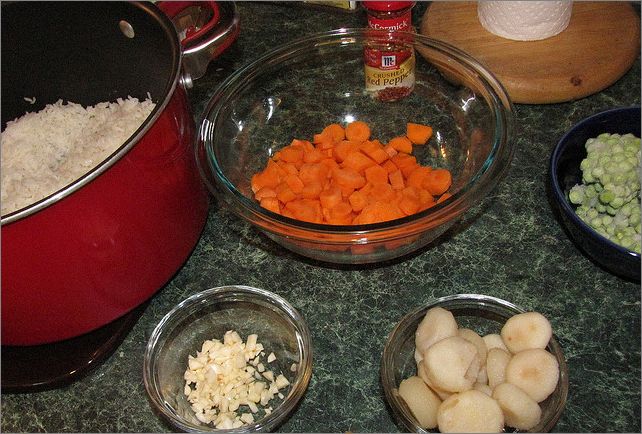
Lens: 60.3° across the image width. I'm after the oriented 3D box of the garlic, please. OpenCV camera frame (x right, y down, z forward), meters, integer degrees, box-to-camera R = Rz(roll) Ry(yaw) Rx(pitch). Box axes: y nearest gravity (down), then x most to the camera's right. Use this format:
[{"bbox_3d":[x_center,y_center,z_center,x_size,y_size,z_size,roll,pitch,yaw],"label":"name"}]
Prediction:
[{"bbox_3d":[-0.187,0.345,1.143,0.174,0.085,0.194,5,59,1],"label":"garlic"}]
